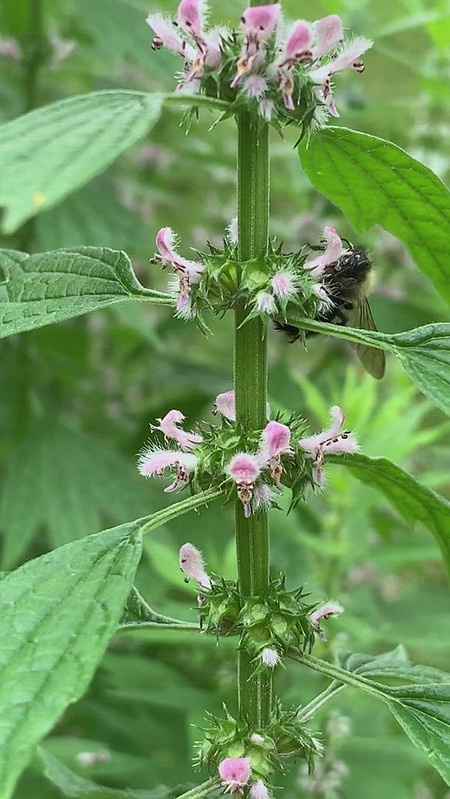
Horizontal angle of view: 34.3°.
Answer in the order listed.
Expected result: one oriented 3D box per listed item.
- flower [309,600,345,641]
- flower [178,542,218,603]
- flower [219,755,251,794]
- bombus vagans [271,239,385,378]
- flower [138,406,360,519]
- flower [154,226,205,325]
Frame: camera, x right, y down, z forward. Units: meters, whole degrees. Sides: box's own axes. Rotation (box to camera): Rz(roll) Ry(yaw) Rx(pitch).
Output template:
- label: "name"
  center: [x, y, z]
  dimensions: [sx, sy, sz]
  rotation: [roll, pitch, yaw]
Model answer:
- label: "flower"
  center: [0.144, 0.332, 1.076]
  dimensions: [0.067, 0.068, 0.021]
  rotation: [-32, -96, 19]
- label: "flower"
  center: [-0.042, 0.253, 1.110]
  dimensions: [0.040, 0.037, 0.102]
  rotation: [-31, -107, 29]
- label: "flower"
  center: [0.011, 0.476, 0.919]
  dimensions: [0.036, 0.026, 0.049]
  rotation: [-2, -65, 3]
- label: "bombus vagans"
  center: [0.257, -0.249, 1.598]
  dimensions: [0.220, 0.088, 0.313]
  rotation: [37, -33, 22]
- label: "flower"
  center: [0.024, 0.079, 1.002]
  dimensions: [0.199, 0.193, 0.117]
  rotation: [3, -95, 4]
- label: "flower"
  center: [-0.060, -0.173, 0.978]
  dimensions: [0.039, 0.079, 0.124]
  rotation: [-20, -86, 11]
